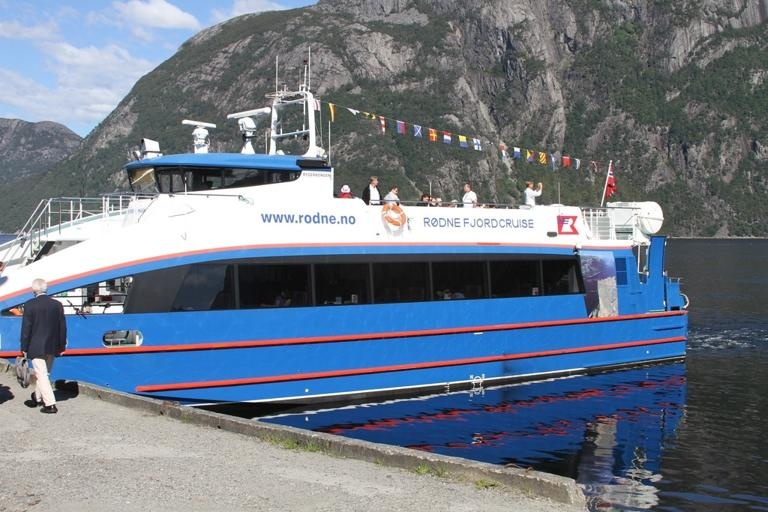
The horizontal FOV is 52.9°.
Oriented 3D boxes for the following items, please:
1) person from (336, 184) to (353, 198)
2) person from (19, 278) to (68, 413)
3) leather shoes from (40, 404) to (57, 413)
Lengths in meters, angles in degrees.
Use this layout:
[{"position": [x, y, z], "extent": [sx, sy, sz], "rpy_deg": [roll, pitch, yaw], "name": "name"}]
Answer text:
[{"position": [-1.095, -1.734, 21.863], "extent": [0.545, 0.353, 0.709], "rpy_deg": [0, 13, -3], "name": "person"}, {"position": [-7.006, 1.837, 15.924], "extent": [0.906, 2.635, 0.667], "rpy_deg": [9, 11, 9], "name": "person"}, {"position": [-6.900, 3.127, 15.873], "extent": [0.390, 0.160, 0.132], "rpy_deg": [10, 8, 31], "name": "leather shoes"}]
